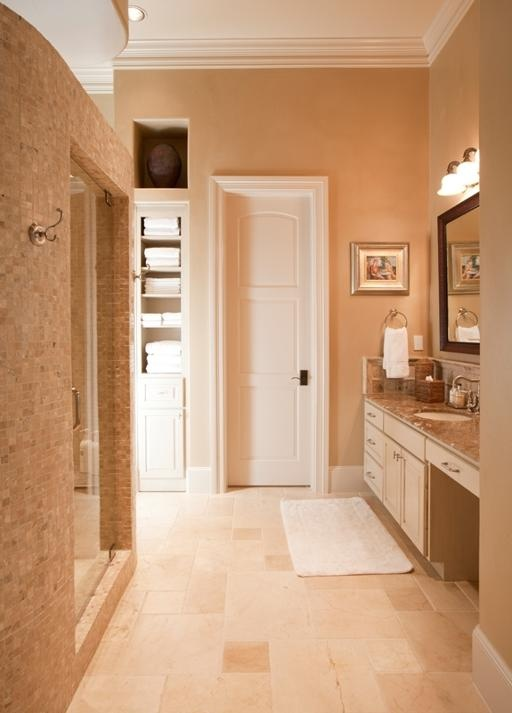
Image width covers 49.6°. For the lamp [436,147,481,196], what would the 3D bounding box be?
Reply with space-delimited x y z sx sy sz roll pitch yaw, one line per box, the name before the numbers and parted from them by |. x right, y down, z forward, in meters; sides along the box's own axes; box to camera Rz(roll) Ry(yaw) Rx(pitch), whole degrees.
lamp | 1.142 -1.030 3.131 0.181 0.251 0.470 1 4 8

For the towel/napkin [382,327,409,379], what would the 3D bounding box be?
towel/napkin | 0.922 -0.019 3.650 0.170 0.338 0.195 1 4 15

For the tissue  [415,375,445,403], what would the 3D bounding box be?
tissue  | 1.065 0.200 3.365 0.147 0.145 0.299 0 4 5

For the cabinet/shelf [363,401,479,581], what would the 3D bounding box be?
cabinet/shelf | 0.797 0.651 2.634 0.185 0.349 0.723 1 7 0

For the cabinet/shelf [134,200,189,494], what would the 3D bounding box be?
cabinet/shelf | -0.650 -0.029 3.870 0.363 1.999 0.319 0 5 -12

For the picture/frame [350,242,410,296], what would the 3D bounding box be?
picture/frame | 0.821 -0.601 3.726 0.317 0.309 0.024 0 1 -4
